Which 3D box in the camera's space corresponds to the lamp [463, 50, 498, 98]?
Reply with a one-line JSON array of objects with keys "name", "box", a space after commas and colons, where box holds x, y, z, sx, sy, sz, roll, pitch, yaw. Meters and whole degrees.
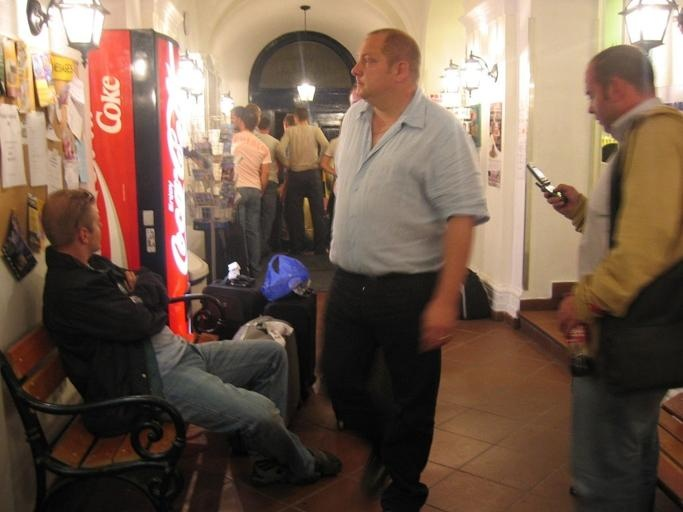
[{"name": "lamp", "box": [1.835, -2.518, 7.173, 0.535, 0.720, 0.360, 1, 11, -1]}]

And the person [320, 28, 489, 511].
[{"name": "person", "box": [0.292, 0.112, 2.620, 0.777, 2.430, 0.515, 3, 10, 14]}]

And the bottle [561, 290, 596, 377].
[{"name": "bottle", "box": [1.026, 0.340, 2.313, 0.089, 0.307, 0.221, -2, -8, 8]}]

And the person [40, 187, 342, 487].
[{"name": "person", "box": [-0.880, 0.544, 3.185, 1.447, 1.924, 0.689, -5, 7, -14]}]
